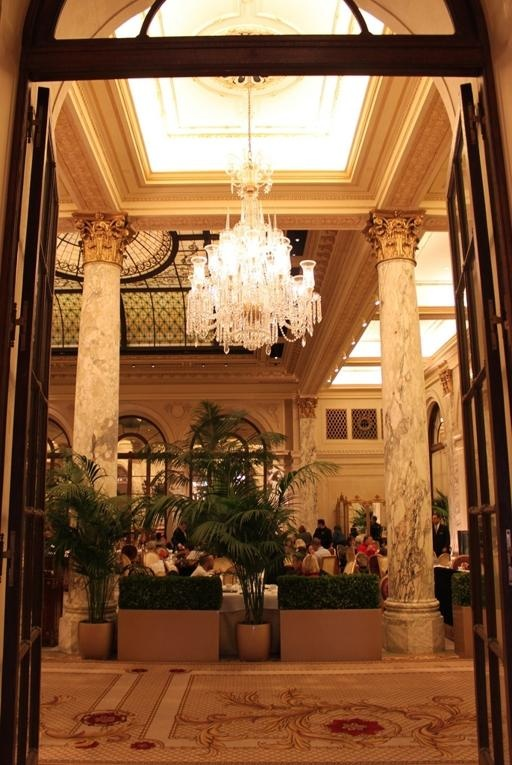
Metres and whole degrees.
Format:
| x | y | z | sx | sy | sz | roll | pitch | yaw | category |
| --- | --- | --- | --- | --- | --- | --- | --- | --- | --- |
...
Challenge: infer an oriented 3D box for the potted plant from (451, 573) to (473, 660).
| x | y | z | sx | sy | sz | roll | pitch | yaw | category |
| --- | --- | --- | --- | --- | --- | --- | --- | --- | --- |
| 2.318 | 2.609 | 6.038 | 0.198 | 0.848 | 0.606 | -4 | -14 | 17 | potted plant |

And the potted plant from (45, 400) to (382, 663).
| x | y | z | sx | sy | sz | roll | pitch | yaw | category |
| --- | --- | --- | --- | --- | --- | --- | --- | --- | --- |
| -0.755 | 1.866 | 6.800 | 3.621 | 2.917 | 2.530 | 0 | -15 | -1 | potted plant |

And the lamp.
| x | y | z | sx | sy | sz | roll | pitch | yaw | category |
| --- | --- | --- | --- | --- | --- | --- | --- | --- | --- |
| -0.037 | -1.999 | 7.231 | 1.528 | 3.128 | 1.738 | 9 | -16 | -34 | lamp |
